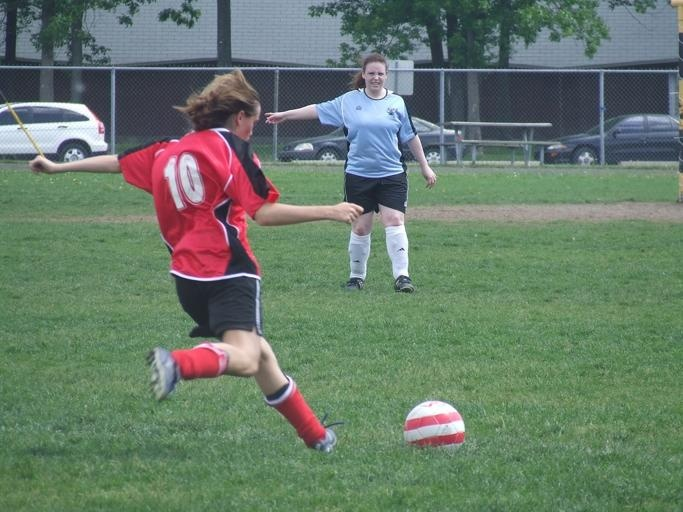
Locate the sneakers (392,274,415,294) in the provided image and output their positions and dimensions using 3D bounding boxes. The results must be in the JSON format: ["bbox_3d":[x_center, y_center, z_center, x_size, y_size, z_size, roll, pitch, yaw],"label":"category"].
[{"bbox_3d":[0.643,0.291,11.039,0.214,0.171,0.230,1,13,2],"label":"sneakers"}]

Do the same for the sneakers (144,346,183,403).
[{"bbox_3d":[-1.240,0.821,7.444,0.233,0.361,0.175,-1,12,-6],"label":"sneakers"}]

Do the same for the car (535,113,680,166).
[{"bbox_3d":[6.184,-2.559,24.593,2.824,0.976,1.267,1,4,-2],"label":"car"}]

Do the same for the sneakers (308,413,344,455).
[{"bbox_3d":[-0.110,1.358,8.161,0.123,0.261,0.385,2,8,21],"label":"sneakers"}]

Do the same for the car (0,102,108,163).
[{"bbox_3d":[-5.935,-2.513,22.670,3.014,1.302,1.475,3,8,-6],"label":"car"}]
